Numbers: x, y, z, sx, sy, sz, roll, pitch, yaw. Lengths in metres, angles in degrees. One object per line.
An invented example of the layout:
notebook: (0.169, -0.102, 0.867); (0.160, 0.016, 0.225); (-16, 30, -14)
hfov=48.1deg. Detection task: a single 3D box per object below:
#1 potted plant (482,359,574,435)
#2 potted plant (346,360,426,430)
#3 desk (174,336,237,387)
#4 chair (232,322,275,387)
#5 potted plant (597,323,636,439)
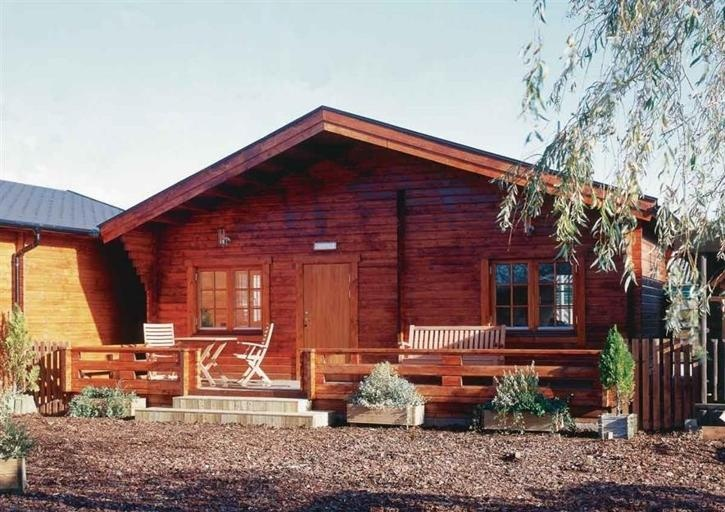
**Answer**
potted plant: (2.609, 2.209, 13.004); (1.180, 0.768, 1.202); (0, -7, 8)
potted plant: (0.361, 2.353, 13.686); (1.133, 1.075, 0.810); (-1, -3, 19)
desk: (-3.222, 2.168, 16.881); (1.025, 1.020, 1.060); (0, -6, 6)
chair: (-2.146, 2.011, 16.350); (1.117, 1.583, 1.129); (0, -8, -8)
potted plant: (3.924, 1.905, 12.546); (0.574, 1.686, 0.765); (1, 7, 17)
